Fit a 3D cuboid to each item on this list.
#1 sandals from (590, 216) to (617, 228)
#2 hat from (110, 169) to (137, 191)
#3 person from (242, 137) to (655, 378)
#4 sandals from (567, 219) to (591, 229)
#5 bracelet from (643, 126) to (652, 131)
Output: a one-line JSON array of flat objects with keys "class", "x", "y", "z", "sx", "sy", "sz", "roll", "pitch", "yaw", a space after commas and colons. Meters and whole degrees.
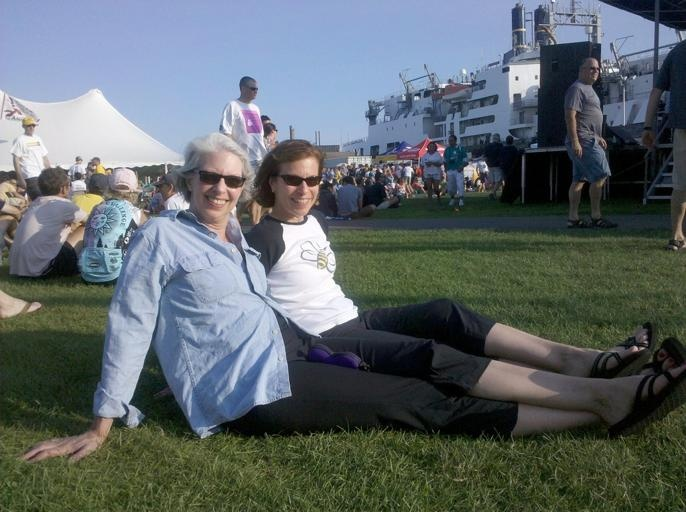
[{"class": "sandals", "x": 3.612, "y": -0.482, "z": 8.901, "sx": 0.138, "sy": 0.163, "sz": 0.352, "roll": -12, "pitch": 11, "yaw": -30}, {"class": "hat", "x": -2.316, "y": -0.787, "z": 6.768, "sx": 0.248, "sy": 0.200, "sz": 0.416, "roll": 6, "pitch": 16, "yaw": -19}, {"class": "person", "x": 0.501, "y": 0.087, "z": 3.629, "sx": 2.149, "sy": 1.283, "sz": 0.993, "roll": 7, "pitch": 16, "yaw": 21}, {"class": "sandals", "x": 3.313, "y": -0.447, "z": 9.047, "sx": 0.307, "sy": 0.144, "sz": 0.124, "roll": 1, "pitch": 7, "yaw": 18}, {"class": "bracelet", "x": 3.293, "y": -1.379, "z": 6.966, "sx": 0.070, "sy": 0.054, "sz": 0.073, "roll": -1, "pitch": 7, "yaw": 35}]
